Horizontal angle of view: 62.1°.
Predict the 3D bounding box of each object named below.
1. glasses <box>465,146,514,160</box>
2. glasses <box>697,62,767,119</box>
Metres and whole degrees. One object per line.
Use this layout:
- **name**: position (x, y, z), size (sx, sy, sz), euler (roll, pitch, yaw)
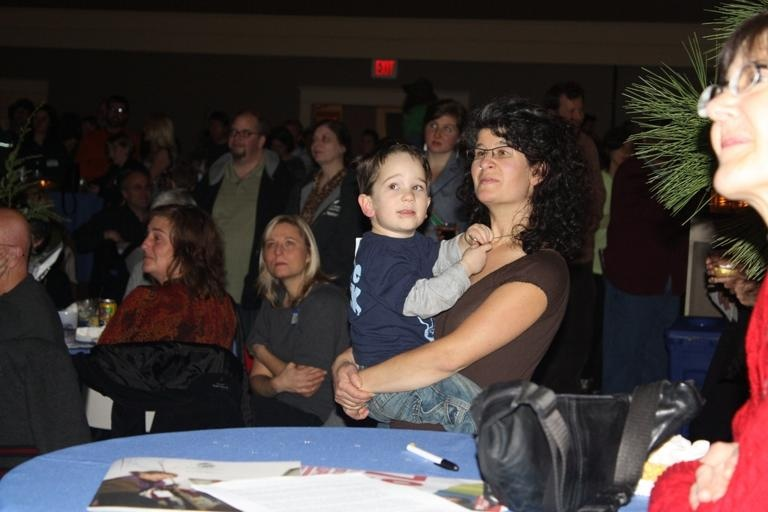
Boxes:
- **glasses**: position (0.397, -0.382, 2.356), size (0.099, 0.027, 0.100), euler (3, 0, 41)
- **glasses**: position (0.820, -0.390, 1.507), size (0.131, 0.117, 0.110), euler (2, 8, 18)
